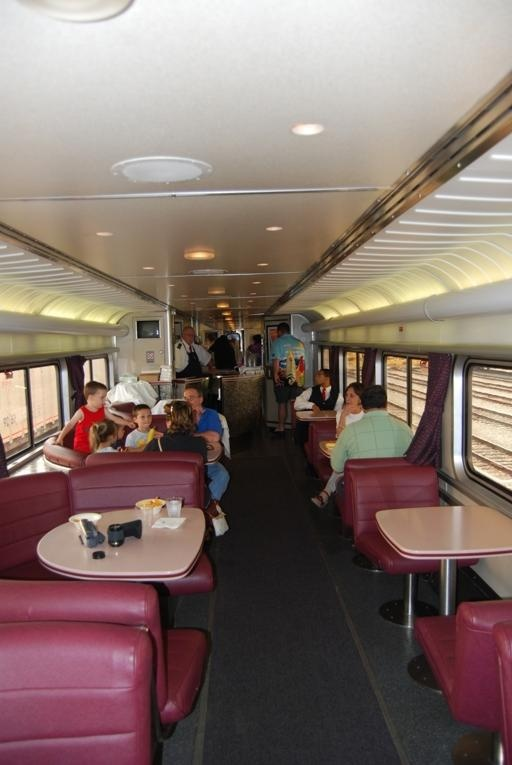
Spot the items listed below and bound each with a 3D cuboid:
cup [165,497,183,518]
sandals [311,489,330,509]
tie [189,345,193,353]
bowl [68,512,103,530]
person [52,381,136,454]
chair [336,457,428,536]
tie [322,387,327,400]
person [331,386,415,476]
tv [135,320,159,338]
[{"bbox_3d":[-0.518,0.815,3.479,0.120,0.131,0.122,1,8,0],"label":"cup"},{"bbox_3d":[0.756,1.370,6.171,0.148,0.134,0.309,-2,-3,15],"label":"sandals"},{"bbox_3d":[-1.348,-0.676,11.108,0.021,0.181,0.172,-3,0,20],"label":"tie"},{"bbox_3d":[-1.031,0.837,3.250,0.160,0.049,0.164,1,-1,0],"label":"bowl"},{"bbox_3d":[-2.052,0.470,6.638,0.492,0.965,0.428,2,31,5],"label":"person"},{"bbox_3d":[0.962,0.949,4.545,0.723,0.693,0.718,3,-3,-3],"label":"chair"},{"bbox_3d":[1.118,0.191,8.707,0.099,0.175,0.052,5,-8,-15],"label":"tie"},{"bbox_3d":[1.155,0.486,5.179,0.883,0.878,0.478,-3,18,-7],"label":"person"},{"bbox_3d":[-2.018,-0.969,10.035,0.540,0.453,0.283,2,11,-4],"label":"tv"}]
